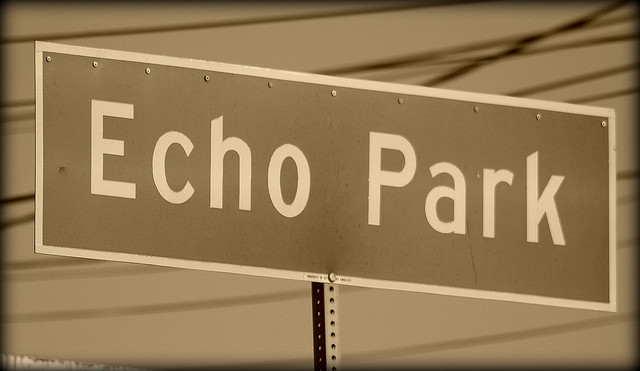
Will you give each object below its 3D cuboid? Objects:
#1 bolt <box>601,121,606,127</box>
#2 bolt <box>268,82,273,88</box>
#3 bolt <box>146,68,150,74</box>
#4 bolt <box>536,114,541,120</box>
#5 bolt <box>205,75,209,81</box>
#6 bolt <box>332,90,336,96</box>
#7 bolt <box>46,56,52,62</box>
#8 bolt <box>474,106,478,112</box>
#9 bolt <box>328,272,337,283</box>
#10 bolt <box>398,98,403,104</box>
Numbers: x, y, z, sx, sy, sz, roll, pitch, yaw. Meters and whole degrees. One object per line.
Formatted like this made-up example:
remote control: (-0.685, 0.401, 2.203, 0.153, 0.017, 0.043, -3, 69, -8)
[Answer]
bolt: (1.182, -0.257, 5.451, 0.015, 0.006, 0.020, 3, -92, -5)
bolt: (-0.195, -0.402, 5.215, 0.018, 0.005, 0.018, 1, -96, -18)
bolt: (-0.679, -0.454, 5.176, 0.020, 0.005, 0.020, -1, -90, -29)
bolt: (0.905, -0.284, 5.411, 0.019, 0.005, 0.018, 0, -93, -11)
bolt: (-0.447, -0.428, 5.194, 0.017, 0.007, 0.022, 0, -92, -9)
bolt: (0.056, -0.370, 5.239, 0.005, 0.021, 0.021, 3, -85, 16)
bolt: (-1.067, -0.500, 5.151, 0.023, 0.005, 0.022, -1, -91, -11)
bolt: (0.639, -0.313, 5.347, 0.017, 0.004, 0.017, 1, -92, -17)
bolt: (0.049, 0.364, 5.194, 0.033, 0.008, 0.032, 0, -94, -23)
bolt: (0.326, -0.342, 5.282, 0.024, 0.006, 0.024, 2, -91, -12)
